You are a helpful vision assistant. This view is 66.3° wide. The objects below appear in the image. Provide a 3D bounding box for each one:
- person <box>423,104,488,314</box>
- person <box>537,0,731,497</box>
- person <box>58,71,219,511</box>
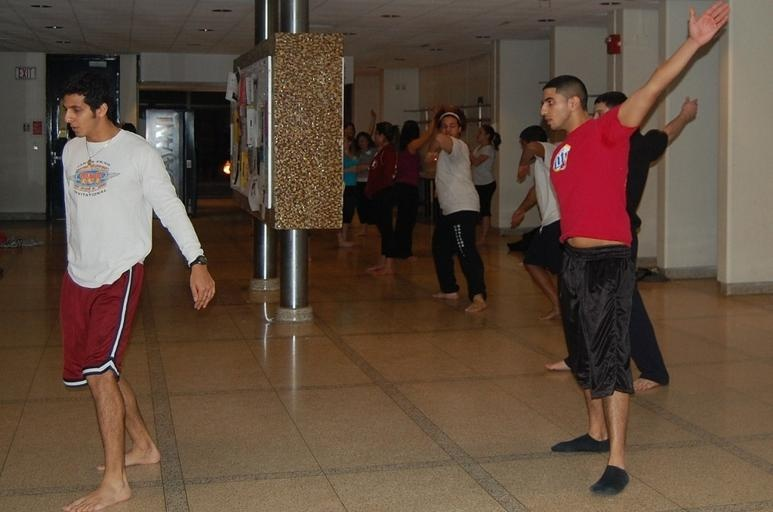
[{"bbox_3d":[0.836,-0.524,6.881,0.691,2.321,0.979,1,8,8],"label":"person"},{"bbox_3d":[1.241,-0.021,3.278,0.653,2.475,0.778,0,8,-1],"label":"person"},{"bbox_3d":[-1.379,0.144,3.134,0.701,2.171,0.645,-4,9,-28],"label":"person"}]
